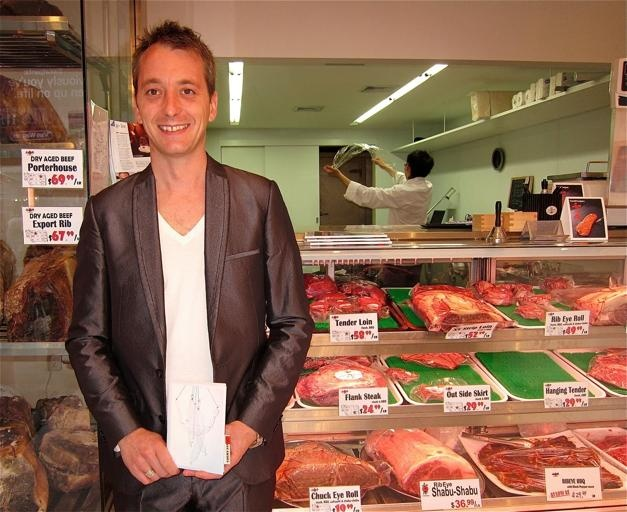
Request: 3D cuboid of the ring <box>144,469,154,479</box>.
[{"bbox_3d":[-0.401,0.531,1.117,0.028,0.022,0.007,-2,-8,-10],"label":"ring"}]
